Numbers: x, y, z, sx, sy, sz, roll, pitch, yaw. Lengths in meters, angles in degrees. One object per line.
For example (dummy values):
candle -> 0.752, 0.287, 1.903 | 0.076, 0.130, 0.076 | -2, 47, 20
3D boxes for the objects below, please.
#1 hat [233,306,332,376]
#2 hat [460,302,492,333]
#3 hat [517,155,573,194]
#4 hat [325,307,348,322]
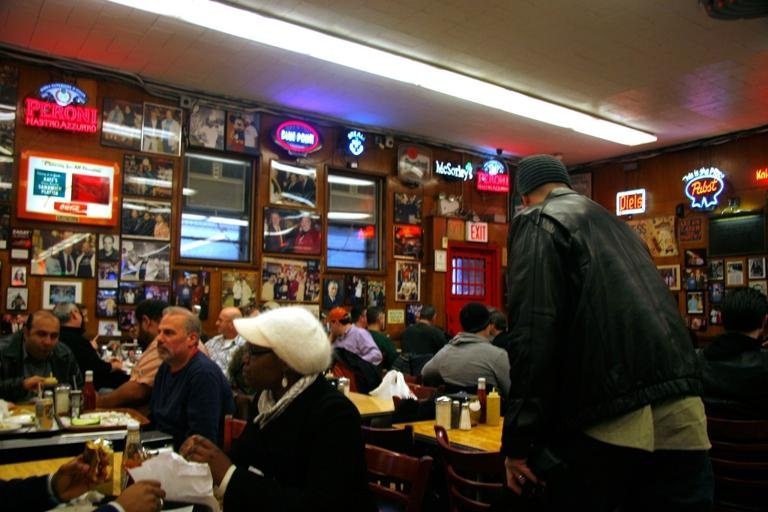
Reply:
hat -> -0.689, 0.511, 4.025 | 0.759, 0.393, 0.521 | 4, -1, -14
hat -> 0.968, 0.642, 6.630 | 0.291, 0.238, 0.295 | -11, 24, 21
hat -> 1.050, -0.581, 4.426 | 0.253, 0.258, 0.340 | -13, 5, -31
hat -> -0.700, 0.845, 9.430 | 0.344, 0.182, 0.249 | 0, 1, 41
